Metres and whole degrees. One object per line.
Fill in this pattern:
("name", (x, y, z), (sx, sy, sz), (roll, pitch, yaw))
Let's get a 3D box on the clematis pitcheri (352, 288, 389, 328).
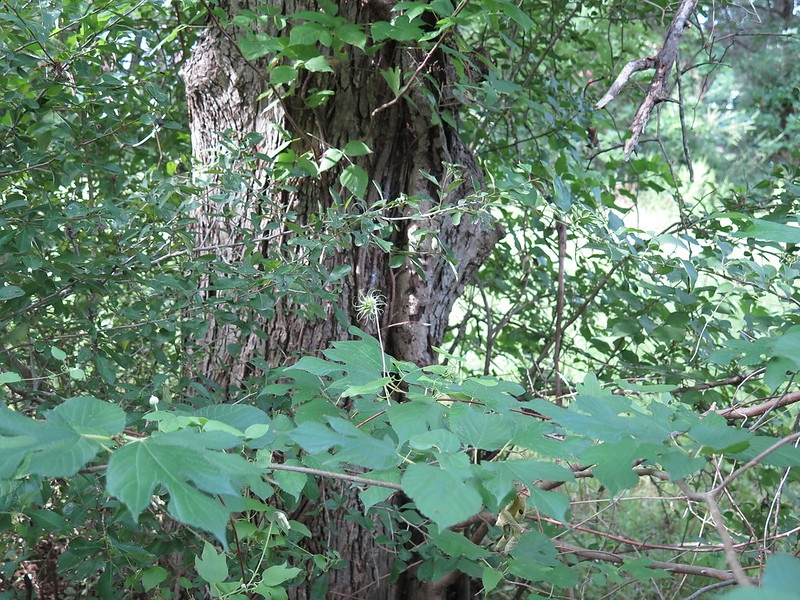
("clematis pitcheri", (-0.123, 0.032, 3.036), (0.148, 0.131, 0.069), (-8, -15, 35))
